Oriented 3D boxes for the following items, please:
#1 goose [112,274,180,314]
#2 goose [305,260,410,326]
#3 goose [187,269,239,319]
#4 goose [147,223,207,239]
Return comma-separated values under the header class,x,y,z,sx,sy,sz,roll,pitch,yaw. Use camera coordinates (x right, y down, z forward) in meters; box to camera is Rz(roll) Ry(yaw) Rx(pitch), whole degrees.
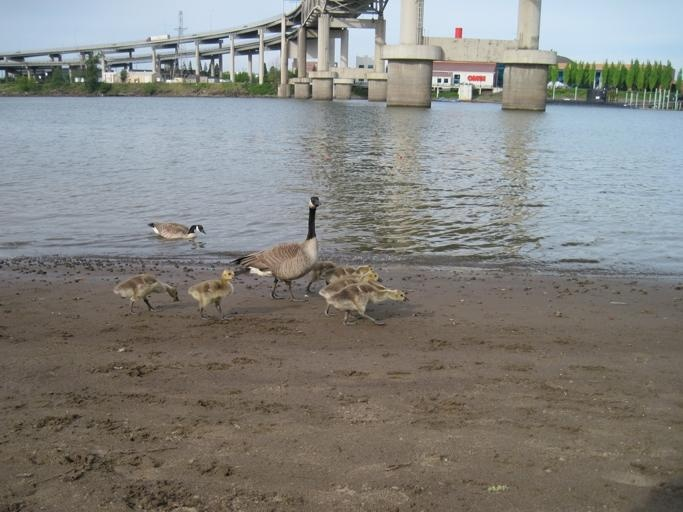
class,x,y,z,sx,sy,sz,roll,pitch,yaw
goose,-3.123,0.570,10.900,0.432,0.491,1.182,6,3,41
goose,0.282,0.675,10.837,1.227,0.582,1.409,-1,12,-7
goose,-2.061,0.570,10.717,0.905,0.609,0.431,-4,5,-38
goose,-3.938,-0.596,16.240,1.135,0.365,0.612,2,13,6
